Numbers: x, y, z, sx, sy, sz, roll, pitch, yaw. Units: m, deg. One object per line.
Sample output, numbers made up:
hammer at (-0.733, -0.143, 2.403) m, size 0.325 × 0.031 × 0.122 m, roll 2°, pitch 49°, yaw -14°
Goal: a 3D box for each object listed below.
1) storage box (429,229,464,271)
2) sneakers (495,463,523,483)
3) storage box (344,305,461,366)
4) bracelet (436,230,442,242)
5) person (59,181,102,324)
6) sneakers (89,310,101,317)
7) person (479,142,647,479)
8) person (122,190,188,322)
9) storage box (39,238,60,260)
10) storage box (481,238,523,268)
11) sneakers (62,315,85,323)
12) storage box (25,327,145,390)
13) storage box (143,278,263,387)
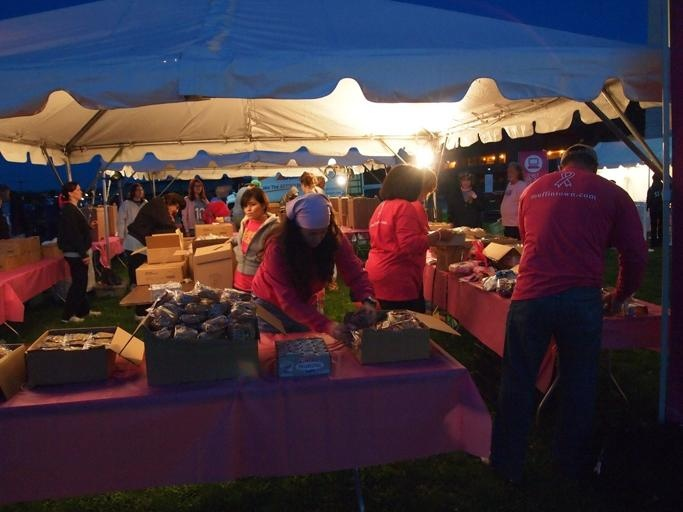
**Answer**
storage box at (0.952, -0.066, 5.196) m, size 0.317 × 0.373 × 0.330 m, roll -2°, pitch 11°, yaw -14°
sneakers at (1.044, 1.378, 3.513) m, size 0.131 × 0.107 × 0.137 m, roll -1°, pitch -7°, yaw -21°
storage box at (0.287, 0.442, 3.129) m, size 0.360 × 0.136 × 0.397 m, roll 0°, pitch 6°, yaw -12°
bracelet at (0.841, -0.170, 4.848) m, size 0.030 × 0.087 × 0.068 m, roll 6°, pitch 35°, yaw -3°
person at (-3.187, -0.025, 6.705) m, size 0.412 × 1.709 × 0.535 m, roll -8°, pitch 15°, yaw -25°
sneakers at (-3.122, 0.733, 7.069) m, size 0.204 × 0.097 × 0.073 m, roll -3°, pitch -5°, yaw 14°
person at (1.352, 0.452, 3.412) m, size 0.803 × 1.915 × 0.488 m, roll 2°, pitch 14°, yaw 16°
person at (-2.446, -0.055, 7.344) m, size 0.677 × 1.554 × 0.739 m, roll 18°, pitch 15°, yaw 41°
storage box at (-3.597, -0.095, 6.922) m, size 0.165 × 0.225 × 0.324 m, roll -1°, pitch 11°, yaw 0°
storage box at (1.451, -0.027, 4.900) m, size 0.248 × 0.100 × 0.283 m, roll -7°, pitch 11°, yaw -19°
sneakers at (-3.186, 0.768, 6.700) m, size 0.245 × 0.114 × 0.091 m, roll -3°, pitch 3°, yaw -14°
storage box at (-1.352, 0.535, 2.995) m, size 0.434 × 0.172 × 0.322 m, roll 2°, pitch 7°, yaw -18°
storage box at (-0.744, 0.416, 3.016) m, size 0.475 × 0.339 × 0.517 m, roll 0°, pitch 14°, yaw -13°
